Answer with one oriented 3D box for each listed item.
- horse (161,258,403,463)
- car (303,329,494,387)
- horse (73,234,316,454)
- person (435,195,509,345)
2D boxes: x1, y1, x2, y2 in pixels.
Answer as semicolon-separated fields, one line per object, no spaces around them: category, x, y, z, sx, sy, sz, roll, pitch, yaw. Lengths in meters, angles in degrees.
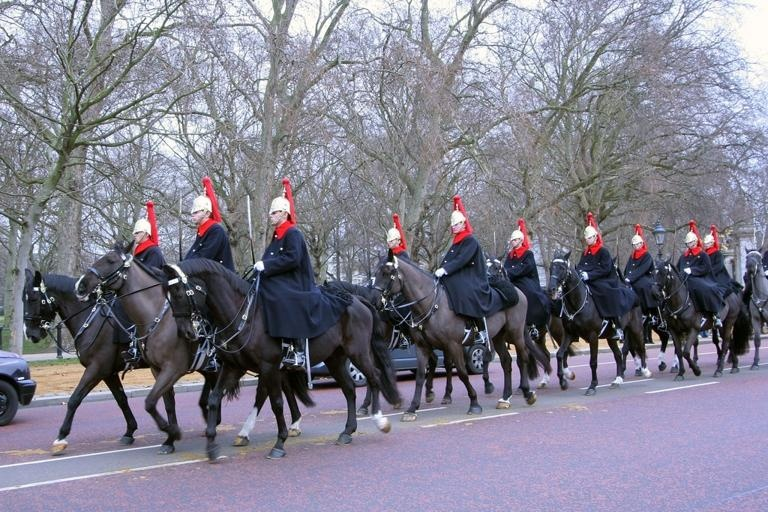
horse;-1.991;2.116;18.314;5.211;3.704;1.332;3;-5;-38
car;0.613;2.513;24.204;3.761;1.393;1.893;10;-14;-30
horse;-4.087;2.159;19.061;1.643;3.901;6.034;-8;-9;23
person;1.837;0.479;20.992;1.519;3.174;0.923;4;-10;-43
